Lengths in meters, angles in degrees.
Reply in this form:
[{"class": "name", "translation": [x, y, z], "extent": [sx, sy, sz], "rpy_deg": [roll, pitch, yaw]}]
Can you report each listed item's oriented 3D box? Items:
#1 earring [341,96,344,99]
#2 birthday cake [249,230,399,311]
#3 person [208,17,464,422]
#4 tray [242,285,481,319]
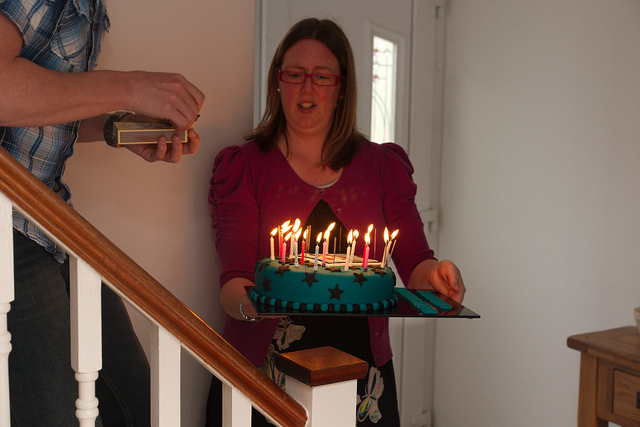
[{"class": "earring", "translation": [0.097, -0.520, 2.726], "extent": [0.012, 0.013, 0.003], "rpy_deg": [1, 7, 9]}, {"class": "birthday cake", "translation": [0.022, 0.217, 2.401], "extent": [0.549, 0.286, 0.570], "rpy_deg": [3, -2, 11]}, {"class": "person", "translation": [0.042, 0.008, 2.492], "extent": [0.966, 1.706, 0.789], "rpy_deg": [2, 2, -13]}, {"class": "tray", "translation": [0.155, 0.323, 2.225], "extent": [0.721, 0.066, 0.450], "rpy_deg": [3, 1, -1]}]
